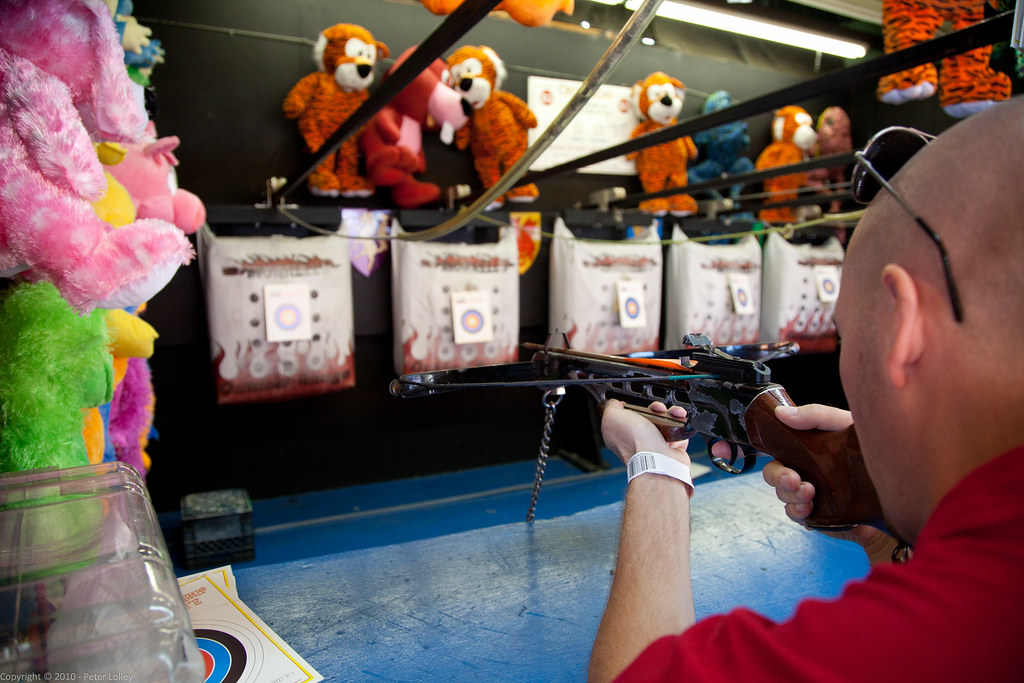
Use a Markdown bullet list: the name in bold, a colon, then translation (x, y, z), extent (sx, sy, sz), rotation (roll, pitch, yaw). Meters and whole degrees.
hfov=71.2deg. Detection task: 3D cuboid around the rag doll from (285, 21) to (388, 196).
- **rag doll**: translation (-0.500, -0.662, 2.053), extent (0.302, 0.477, 0.193), rotation (-4, 11, -12)
